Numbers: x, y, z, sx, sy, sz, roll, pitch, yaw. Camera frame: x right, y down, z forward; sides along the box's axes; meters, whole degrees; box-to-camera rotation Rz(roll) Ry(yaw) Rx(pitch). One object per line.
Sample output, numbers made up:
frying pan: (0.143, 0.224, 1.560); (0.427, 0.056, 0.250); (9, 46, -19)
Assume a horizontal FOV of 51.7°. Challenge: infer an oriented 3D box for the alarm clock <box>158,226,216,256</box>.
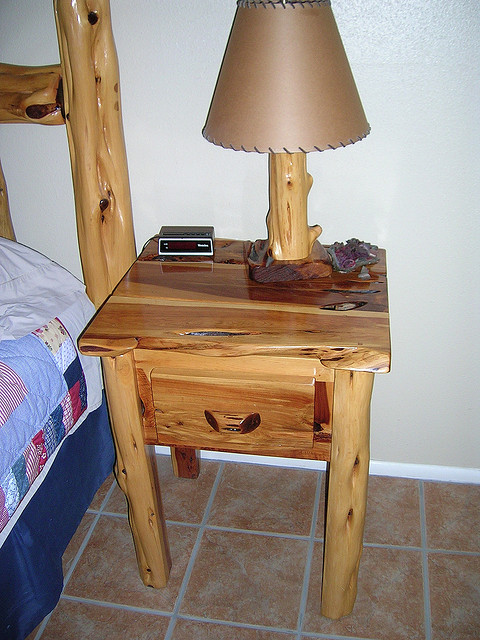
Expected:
alarm clock: (-0.119, -0.179, 1.108); (0.119, 0.050, 0.143); (-4, 24, -1)
